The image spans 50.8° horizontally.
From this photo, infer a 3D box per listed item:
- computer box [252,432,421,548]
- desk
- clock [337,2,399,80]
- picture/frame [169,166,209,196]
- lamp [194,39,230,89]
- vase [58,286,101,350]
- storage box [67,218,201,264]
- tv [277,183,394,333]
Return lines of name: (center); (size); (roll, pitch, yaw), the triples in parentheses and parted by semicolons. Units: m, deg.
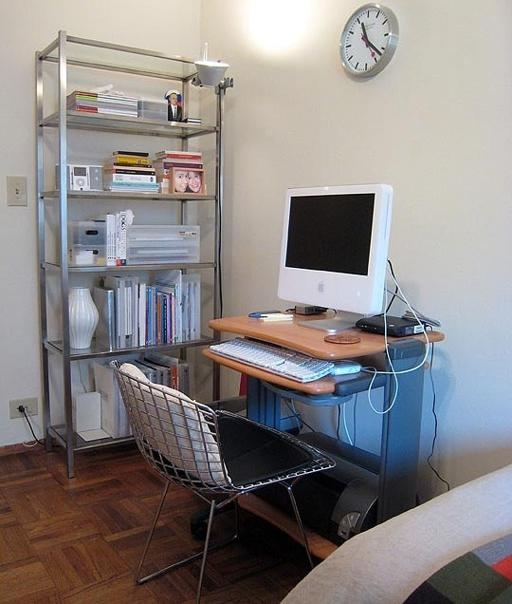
computer box: (0.344, 0.623, 1.891); (0.314, 0.187, 0.403); (-12, 14, -23)
desk: (0.218, 0.473, 1.954); (0.566, 0.752, 0.753); (-4, 6, -34)
clock: (0.425, -0.984, 2.049); (0.069, 0.251, 0.282); (-3, 8, -28)
picture/frame: (-0.357, -0.600, 2.813); (0.256, 0.172, 0.130); (-6, 12, -38)
lamp: (-0.218, -1.137, 2.592); (0.219, 0.203, 0.308); (0, 27, -11)
vase: (-0.868, 0.083, 2.606); (0.125, 0.298, 0.171); (6, 8, 35)
storage box: (-0.574, -0.309, 2.663); (0.639, 0.246, 0.078); (-3, 8, -31)
tv: (0.276, -0.148, 1.809); (0.197, 0.533, 0.530); (-2, 6, -36)
